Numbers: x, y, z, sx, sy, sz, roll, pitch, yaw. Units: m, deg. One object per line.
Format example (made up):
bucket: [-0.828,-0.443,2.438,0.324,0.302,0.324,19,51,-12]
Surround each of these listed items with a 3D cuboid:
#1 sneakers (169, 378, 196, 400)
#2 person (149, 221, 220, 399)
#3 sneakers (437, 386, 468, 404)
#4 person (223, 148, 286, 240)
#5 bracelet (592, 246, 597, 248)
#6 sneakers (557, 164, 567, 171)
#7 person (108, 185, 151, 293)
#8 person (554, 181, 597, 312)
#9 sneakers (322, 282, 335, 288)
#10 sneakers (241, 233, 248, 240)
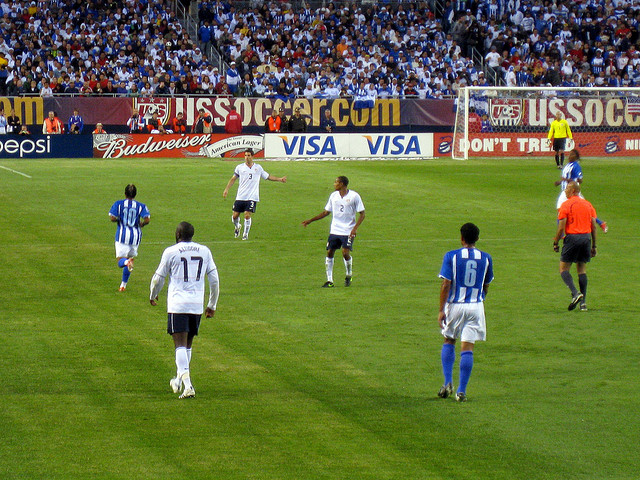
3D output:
sneakers: [-2.412,2.612,23.602,0.222,0.298,0.643,-4,11,-43]
person: [-2.405,1.227,23.535,1.150,3.090,0.448,1,5,-8]
sneakers: [2.300,2.710,23.668,0.542,0.250,0.204,12,13,23]
person: [-1.944,-1.193,34.777,0.863,2.374,0.952,-3,7,-40]
bracelet: [5.789,0.135,28.205,0.056,0.042,0.056,1,2,-9]
sneakers: [8.985,-2.716,49.703,0.179,0.226,0.532,-3,1,11]
person: [-4.190,0.044,29.180,0.825,2.126,0.868,1,5,0]
person: [5.332,0.113,27.917,0.834,2.703,1.022,2,5,11]
sneakers: [0.175,0.989,29.833,0.097,0.115,0.283,-1,3,-44]
sneakers: [-1.985,-0.092,34.983,0.135,0.155,0.160,0,1,-5]
